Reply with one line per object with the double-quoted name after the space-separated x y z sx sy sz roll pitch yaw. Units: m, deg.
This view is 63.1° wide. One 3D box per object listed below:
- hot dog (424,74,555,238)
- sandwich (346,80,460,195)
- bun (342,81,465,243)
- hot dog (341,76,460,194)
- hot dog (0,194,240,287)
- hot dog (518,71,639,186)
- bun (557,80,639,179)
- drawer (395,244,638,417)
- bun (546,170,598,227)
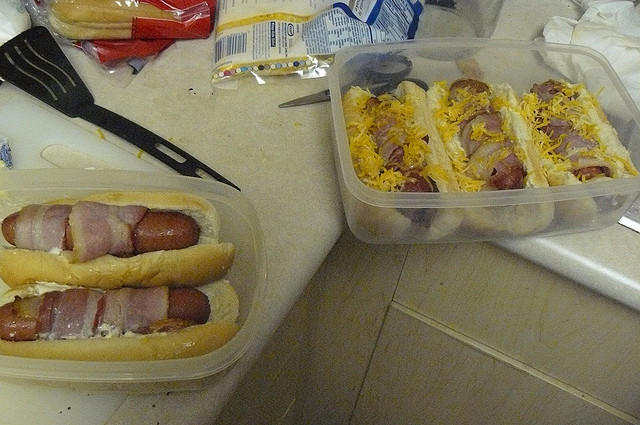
0.395 -0.148 1.265 0.229 0.127 0.419 -12 74 0 "hot dog"
0.181 -0.169 1.191 0.193 0.092 0.298 -11 68 -4 "sandwich"
0.177 -0.109 1.244 0.222 0.127 0.406 -18 88 -11 "bun"
0.182 -0.159 1.188 0.202 0.094 0.310 -10 71 0 "hot dog"
-0.414 0.069 1.176 0.475 0.156 0.204 -1 68 -15 "hot dog"
0.607 -0.188 1.247 0.190 0.102 0.307 -13 67 1 "hot dog"
0.686 -0.193 1.293 0.084 0.064 0.267 -13 68 7 "bun"
0.521 0.261 1.295 0.668 0.242 0.203 21 69 12 "drawer"
0.578 -0.039 1.185 0.112 0.100 0.119 5 65 6 "bun"
